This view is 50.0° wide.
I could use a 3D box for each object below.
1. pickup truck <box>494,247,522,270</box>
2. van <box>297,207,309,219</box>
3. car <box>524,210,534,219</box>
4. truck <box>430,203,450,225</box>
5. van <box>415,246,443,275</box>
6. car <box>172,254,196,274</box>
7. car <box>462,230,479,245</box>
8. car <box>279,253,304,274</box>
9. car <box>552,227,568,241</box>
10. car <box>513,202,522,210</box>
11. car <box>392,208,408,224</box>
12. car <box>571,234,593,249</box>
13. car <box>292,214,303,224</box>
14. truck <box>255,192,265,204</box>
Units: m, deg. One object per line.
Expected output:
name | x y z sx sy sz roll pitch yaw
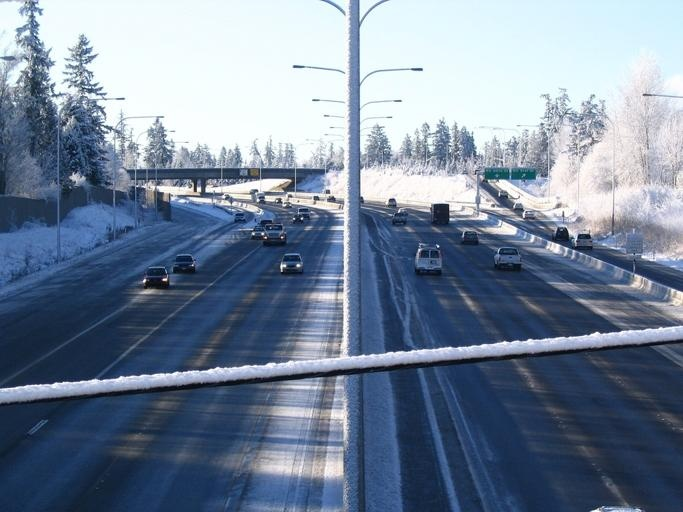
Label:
pickup truck | 12.494 0.261 54.640 1.731 1.580 1.167 -1 7 -3
van | -5.237 -5.563 104.062 1.808 1.522 2.798 0 17 -7
car | 27.796 -5.977 108.462 1.460 1.042 2.094 4 9 29
truck | 12.952 -5.476 95.288 2.273 2.593 1.953 0 7 2
van | 6.130 0.239 51.963 1.288 1.318 2.287 1 7 1
car | -11.724 0.645 54.593 1.211 1.044 2.813 -1 -3 -9
car | 12.728 -1.733 72.139 1.517 1.232 1.471 0 7 4
car | -3.621 0.586 53.488 1.329 1.156 2.939 -1 -1 0
car | 23.505 -2.327 78.161 1.504 1.468 1.835 3 8 27
car | 29.651 -8.328 122.738 0.900 0.810 1.755 0 3 3
car | 7.608 -4.945 95.423 1.564 1.201 2.519 0 9 1
car | 23.017 -1.489 70.341 1.115 0.967 2.096 0 11 4
car | -5.935 -5.069 101.038 1.562 1.255 2.682 0 2 -3
truck | -17.270 -12.296 158.858 1.407 1.941 3.711 -1 -2 -9
